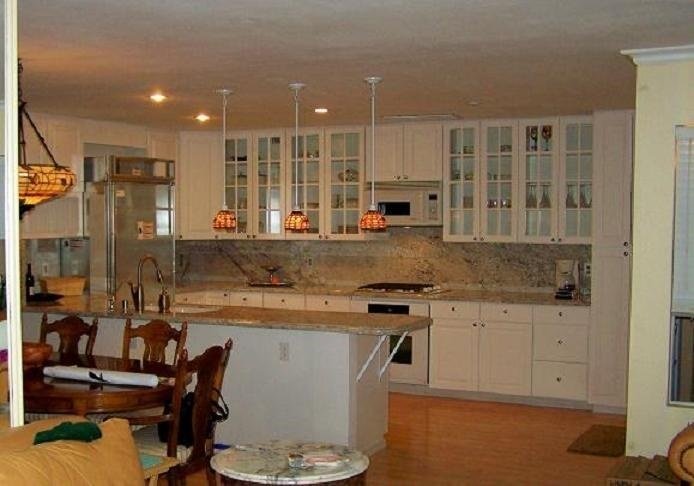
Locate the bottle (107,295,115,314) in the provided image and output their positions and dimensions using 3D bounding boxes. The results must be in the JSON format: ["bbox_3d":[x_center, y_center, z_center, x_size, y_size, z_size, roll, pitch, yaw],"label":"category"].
[{"bbox_3d":[-2.136,0.549,5.832,0.072,0.132,0.076,0,6,0],"label":"bottle"}]

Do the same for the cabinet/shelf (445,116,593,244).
[{"bbox_3d":[1.893,-0.694,6.821,1.456,1.125,0.495,1,0,19],"label":"cabinet/shelf"}]

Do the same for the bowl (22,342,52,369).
[{"bbox_3d":[-2.208,0.786,4.584,0.265,0.130,0.253,1,-4,0],"label":"bowl"}]

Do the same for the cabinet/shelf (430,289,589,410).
[{"bbox_3d":[1.780,1.109,6.862,1.696,0.950,0.571,-1,-6,32],"label":"cabinet/shelf"}]

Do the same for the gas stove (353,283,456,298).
[{"bbox_3d":[0.654,0.518,7.271,0.966,0.046,0.727,2,5,20],"label":"gas stove"}]

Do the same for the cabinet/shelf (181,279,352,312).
[{"bbox_3d":[-0.895,0.639,7.394,1.988,0.211,0.389,1,5,13],"label":"cabinet/shelf"}]

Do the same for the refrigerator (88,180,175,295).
[{"bbox_3d":[-2.020,-0.074,6.076,0.780,1.041,0.465,-2,6,-17],"label":"refrigerator"}]

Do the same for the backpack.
[{"bbox_3d":[-1.012,1.140,4.282,0.521,0.434,0.353,2,-1,12],"label":"backpack"}]

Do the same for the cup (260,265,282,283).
[{"bbox_3d":[-0.923,0.395,8.060,0.235,0.144,0.223,-1,-6,0],"label":"cup"}]
